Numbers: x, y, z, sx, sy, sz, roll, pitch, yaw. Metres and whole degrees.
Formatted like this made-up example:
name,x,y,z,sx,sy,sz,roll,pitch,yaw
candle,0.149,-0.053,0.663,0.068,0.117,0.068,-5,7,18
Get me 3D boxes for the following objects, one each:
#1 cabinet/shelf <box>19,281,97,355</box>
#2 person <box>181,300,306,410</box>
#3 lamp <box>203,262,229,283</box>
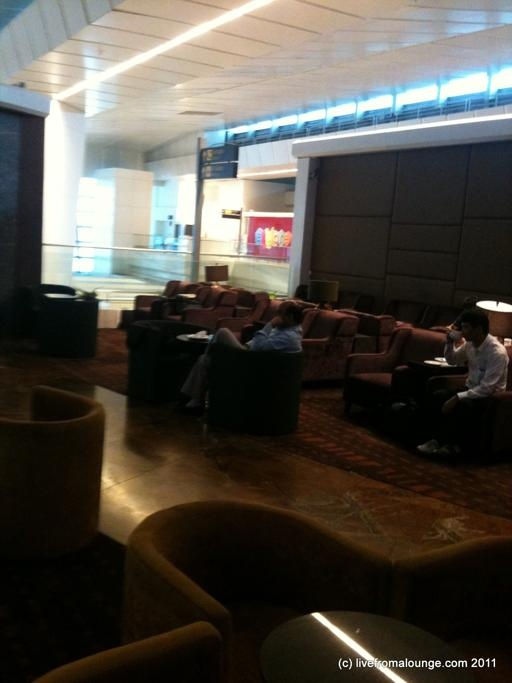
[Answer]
name,x,y,z,sx,sy,sz,roll,pitch,yaw
cabinet/shelf,-3.269,-0.294,7.938,1.608,1.006,0.904,2,2,-23
person,-0.155,0.092,5.512,1.296,1.307,0.958,3,6,5
lamp,-0.869,-1.500,11.742,0.482,0.453,0.446,-4,10,-15
